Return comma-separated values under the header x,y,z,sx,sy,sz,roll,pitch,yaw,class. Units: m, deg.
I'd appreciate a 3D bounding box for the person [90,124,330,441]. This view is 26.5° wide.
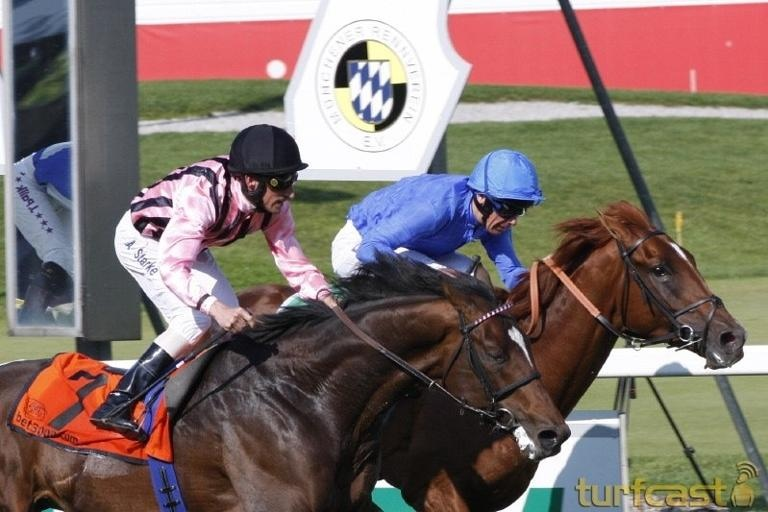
x,y,z,sx,sy,sz,roll,pitch,yaw,class
-0.831,0.165,9.322,1.604,1.801,1.076,6,18,11,person

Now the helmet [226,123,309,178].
x,y,z,sx,sy,sz,roll,pitch,yaw,class
-0.660,-0.634,9.254,0.519,0.218,0.364,7,19,27,helmet

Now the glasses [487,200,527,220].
x,y,z,sx,sy,sz,roll,pitch,yaw,class
0.700,-0.282,9.518,0.137,0.042,0.162,6,8,-29,glasses

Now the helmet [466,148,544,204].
x,y,z,sx,sy,sz,roll,pitch,yaw,class
0.756,-0.490,9.621,0.433,0.272,0.540,-14,16,-26,helmet
